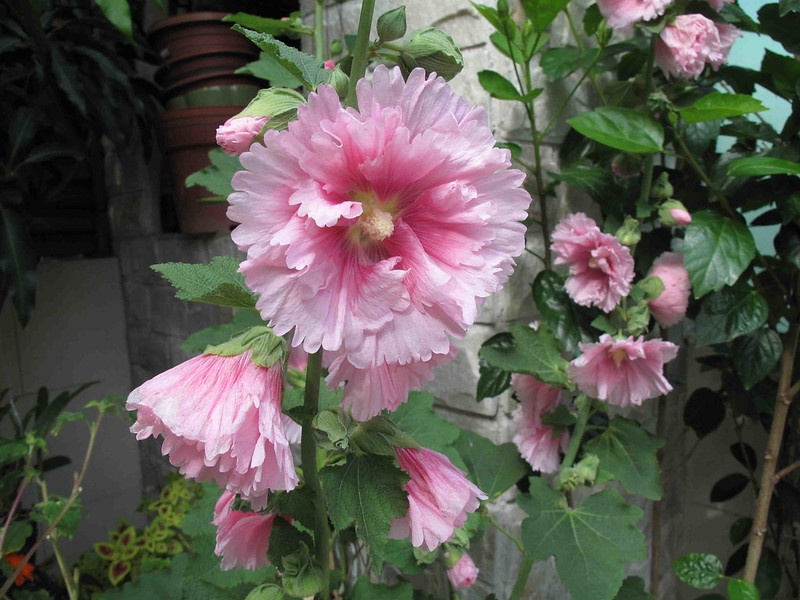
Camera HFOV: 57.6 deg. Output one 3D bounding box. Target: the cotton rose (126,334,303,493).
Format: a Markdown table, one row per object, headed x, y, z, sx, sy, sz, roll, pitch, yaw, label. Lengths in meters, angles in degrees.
| x | y | z | sx | sy | sz | roll | pitch | yaw | label |
| --- | --- | --- | --- | --- | --- | --- | --- | --- | --- |
| -0.295 | 0.164 | 1.149 | 0.234 | 0.266 | 0.154 | -9 | -31 | 13 | cotton rose |

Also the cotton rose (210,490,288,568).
| x | y | z | sx | sy | sz | roll | pitch | yaw | label |
| --- | --- | --- | --- | --- | --- | --- | --- | --- | --- |
| -0.258 | 0.381 | 1.196 | 0.091 | 0.109 | 0.071 | 4 | -37 | -15 | cotton rose |

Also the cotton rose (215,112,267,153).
| x | y | z | sx | sy | sz | roll | pitch | yaw | label |
| --- | --- | --- | --- | --- | --- | --- | --- | --- | --- |
| -0.251 | -0.245 | 1.124 | 0.061 | 0.043 | 0.086 | -12 | 5 | -22 | cotton rose |

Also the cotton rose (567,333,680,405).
| x | y | z | sx | sy | sz | roll | pitch | yaw | label |
| --- | --- | --- | --- | --- | --- | --- | --- | --- | --- |
| 0.431 | 0.106 | 1.402 | 0.159 | 0.085 | 0.162 | 6 | -7 | 33 | cotton rose |

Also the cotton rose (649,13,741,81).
| x | y | z | sx | sy | sz | roll | pitch | yaw | label |
| --- | --- | --- | --- | --- | --- | --- | --- | --- | --- |
| 0.563 | -0.478 | 1.384 | 0.126 | 0.087 | 0.130 | -20 | 16 | -30 | cotton rose |

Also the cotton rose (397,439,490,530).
| x | y | z | sx | sy | sz | roll | pitch | yaw | label |
| --- | --- | --- | --- | --- | --- | --- | --- | --- | --- |
| 0.074 | 0.296 | 1.199 | 0.147 | 0.092 | 0.064 | 41 | -8 | 19 | cotton rose |

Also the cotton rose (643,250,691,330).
| x | y | z | sx | sy | sz | roll | pitch | yaw | label |
| --- | --- | --- | --- | --- | --- | --- | --- | --- | --- |
| 0.527 | -0.010 | 1.419 | 0.106 | 0.124 | 0.036 | 15 | -5 | -39 | cotton rose |

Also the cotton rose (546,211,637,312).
| x | y | z | sx | sy | sz | roll | pitch | yaw | label |
| --- | --- | --- | --- | --- | --- | --- | --- | --- | --- |
| 0.365 | -0.068 | 1.399 | 0.150 | 0.162 | 0.071 | -6 | -52 | 42 | cotton rose |

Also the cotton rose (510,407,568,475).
| x | y | z | sx | sy | sz | roll | pitch | yaw | label |
| --- | --- | --- | --- | --- | --- | --- | --- | --- | --- |
| 0.292 | 0.264 | 1.531 | 0.052 | 0.124 | 0.124 | 45 | -16 | -12 | cotton rose |

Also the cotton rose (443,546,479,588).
| x | y | z | sx | sy | sz | roll | pitch | yaw | label |
| --- | --- | --- | --- | --- | --- | --- | --- | --- | --- |
| 0.130 | 0.578 | 1.583 | 0.062 | 0.097 | 0.128 | -7 | -37 | -1 | cotton rose |

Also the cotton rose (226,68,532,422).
| x | y | z | sx | sy | sz | roll | pitch | yaw | label |
| --- | --- | --- | --- | --- | --- | --- | --- | --- | --- |
| -0.013 | -0.210 | 1.127 | 0.350 | 0.180 | 0.383 | 21 | 17 | 4 | cotton rose |
